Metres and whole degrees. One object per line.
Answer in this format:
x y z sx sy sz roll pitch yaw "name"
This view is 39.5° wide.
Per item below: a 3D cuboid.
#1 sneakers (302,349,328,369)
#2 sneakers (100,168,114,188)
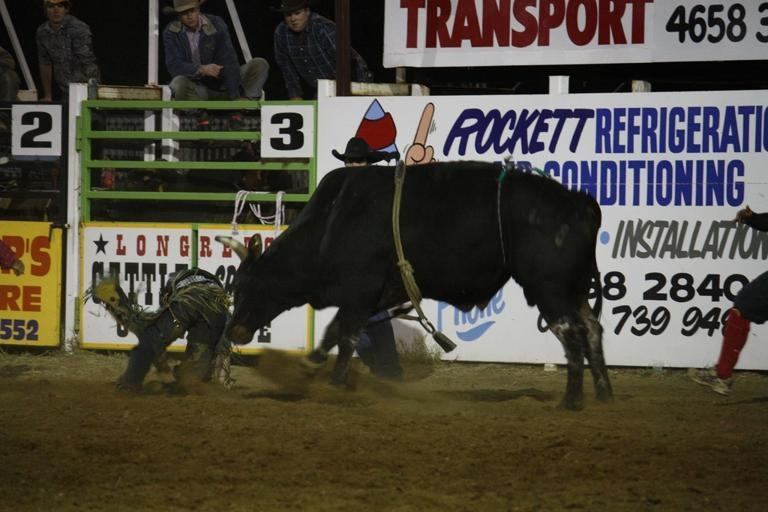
-0.880 1.253 13.068 0.355 0.240 0.184 10 0 17 "sneakers"
-3.897 -1.072 14.840 0.099 0.264 0.239 5 4 31 "sneakers"
